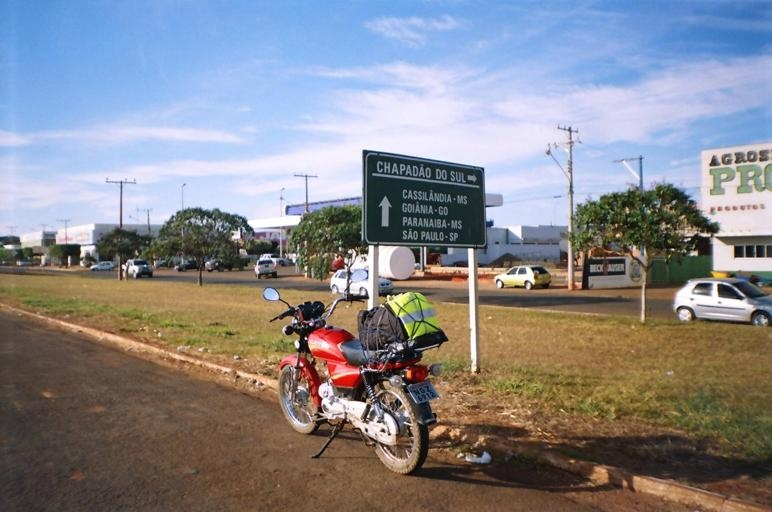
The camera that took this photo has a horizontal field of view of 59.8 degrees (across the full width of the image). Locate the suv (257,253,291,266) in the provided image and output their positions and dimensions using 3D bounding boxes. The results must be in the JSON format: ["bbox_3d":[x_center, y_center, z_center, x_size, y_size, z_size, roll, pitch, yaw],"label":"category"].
[{"bbox_3d":[-12.796,0.485,77.057,2.019,0.926,2.949,1,-10,4],"label":"suv"}]

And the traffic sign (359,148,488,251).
[{"bbox_3d":[0.727,-1.116,14.278,2.437,1.568,0.040,3,-6,-30],"label":"traffic sign"}]

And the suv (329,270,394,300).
[{"bbox_3d":[-1.883,1.775,38.578,2.921,1.372,1.699,-6,-6,41],"label":"suv"}]

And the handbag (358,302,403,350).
[{"bbox_3d":[-0.129,1.110,10.198,0.715,0.788,0.563,-4,-5,40],"label":"handbag"}]

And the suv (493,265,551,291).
[{"bbox_3d":[8.956,1.417,43.277,1.661,1.350,2.831,-1,6,-41],"label":"suv"}]
